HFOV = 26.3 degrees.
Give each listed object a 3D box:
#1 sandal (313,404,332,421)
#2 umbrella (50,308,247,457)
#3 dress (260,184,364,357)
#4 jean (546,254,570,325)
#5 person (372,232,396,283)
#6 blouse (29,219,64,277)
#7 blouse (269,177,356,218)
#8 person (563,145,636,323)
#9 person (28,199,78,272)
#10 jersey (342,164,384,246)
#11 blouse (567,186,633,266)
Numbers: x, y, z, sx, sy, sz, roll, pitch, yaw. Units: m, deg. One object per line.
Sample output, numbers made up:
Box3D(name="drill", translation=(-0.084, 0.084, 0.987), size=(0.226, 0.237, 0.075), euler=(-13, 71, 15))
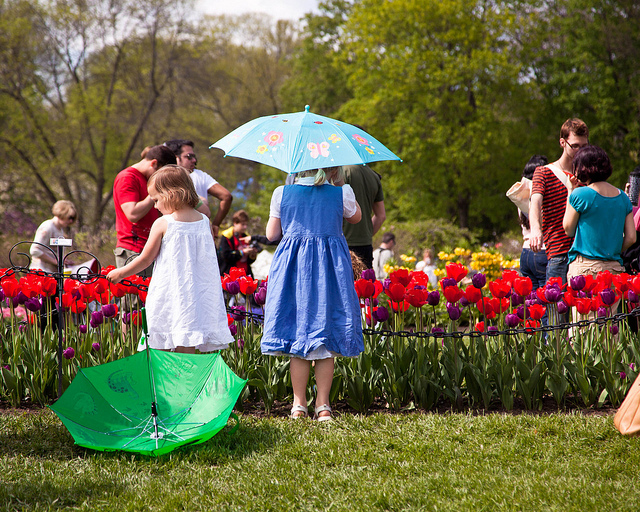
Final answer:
Box3D(name="sandal", translation=(0.029, 2.668, 23.417), size=(0.371, 0.271, 0.245), euler=(-2, -5, 18))
Box3D(name="umbrella", translation=(-3.079, 2.797, 23.360), size=(2.625, 2.009, 2.572), euler=(-19, 25, -36))
Box3D(name="dress", translation=(-0.176, 0.414, 23.737), size=(1.565, 3.032, 1.584), euler=(2, 8, -16))
Box3D(name="jean", translation=(4.258, 0.637, 24.523), size=(0.395, 1.253, 0.427), euler=(-2, 5, 11))
Box3D(name="person", translation=(1.400, 0.164, 29.929), size=(0.455, 0.445, 1.369), euler=(1, -45, -5))
Box3D(name="blouse", translation=(-5.280, -0.137, 26.296), size=(0.637, 1.605, 0.721), euler=(1, -7, -17))
Box3D(name="blouse", translation=(-0.043, -0.952, 23.463), size=(1.112, 0.772, 0.960), euler=(-1, 4, -10))
Box3D(name="person", translation=(4.916, -0.762, 24.216), size=(1.181, 2.223, 0.483), euler=(-1, -5, 9))
Box3D(name="person", translation=(-5.130, -0.389, 26.353), size=(0.843, 1.478, 2.555), euler=(1, -5, -10))
Box3D(name="jersey", translation=(0.780, -0.929, 24.966), size=(0.569, 1.553, 0.652), euler=(0, 7, -11))
Box3D(name="blouse", translation=(4.930, -0.513, 24.178), size=(1.188, 1.417, 0.747), euler=(1, 10, -4))
